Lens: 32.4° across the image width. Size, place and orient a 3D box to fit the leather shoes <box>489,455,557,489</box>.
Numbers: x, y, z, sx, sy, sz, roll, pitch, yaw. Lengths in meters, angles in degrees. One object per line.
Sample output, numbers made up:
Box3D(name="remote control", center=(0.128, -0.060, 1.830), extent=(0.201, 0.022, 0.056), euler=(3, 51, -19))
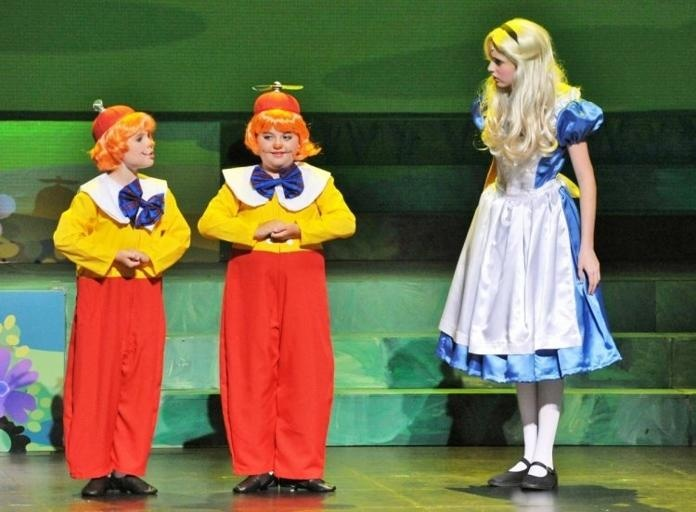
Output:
Box3D(name="leather shoes", center=(0.759, 0.954, 5.287), extent=(0.242, 0.076, 0.146), euler=(0, -5, 4))

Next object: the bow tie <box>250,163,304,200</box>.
Box3D(name="bow tie", center=(-0.321, -0.327, 5.350), extent=(0.269, 0.158, 0.032), euler=(-5, 12, -39))

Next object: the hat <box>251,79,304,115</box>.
Box3D(name="hat", center=(-0.339, -0.723, 5.456), extent=(0.242, 0.133, 0.212), euler=(-3, 9, -21))

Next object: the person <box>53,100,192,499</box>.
Box3D(name="person", center=(-0.999, 0.189, 5.312), extent=(0.576, 1.722, 0.233), euler=(-1, -7, -8))

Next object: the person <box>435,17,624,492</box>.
Box3D(name="person", center=(0.758, -0.245, 5.280), extent=(0.755, 1.576, 0.318), euler=(-3, -7, 4))

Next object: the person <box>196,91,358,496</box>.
Box3D(name="person", center=(-0.325, 0.134, 5.383), extent=(0.689, 1.832, 0.308), euler=(-1, -7, -7))

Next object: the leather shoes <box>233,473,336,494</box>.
Box3D(name="leather shoes", center=(-0.288, 1.004, 5.297), extent=(0.448, 0.088, 0.121), euler=(-1, -7, -1))

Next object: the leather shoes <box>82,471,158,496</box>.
Box3D(name="leather shoes", center=(-1.011, 1.006, 5.262), extent=(0.337, 0.110, 0.112), euler=(-3, -2, -9))
